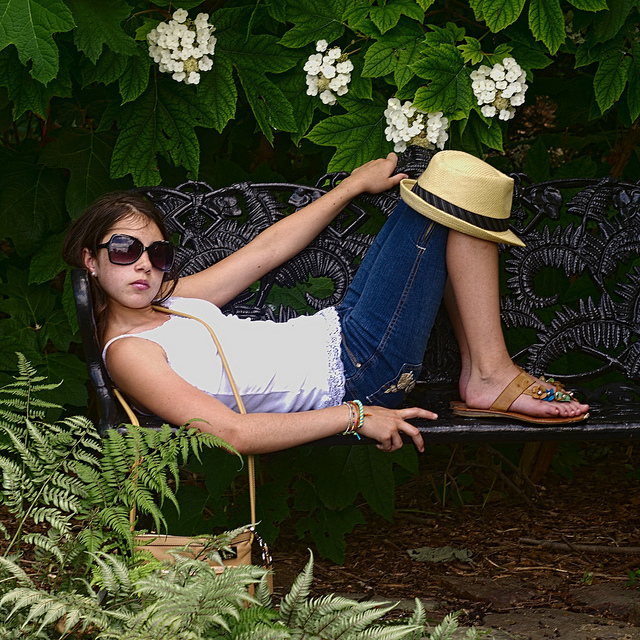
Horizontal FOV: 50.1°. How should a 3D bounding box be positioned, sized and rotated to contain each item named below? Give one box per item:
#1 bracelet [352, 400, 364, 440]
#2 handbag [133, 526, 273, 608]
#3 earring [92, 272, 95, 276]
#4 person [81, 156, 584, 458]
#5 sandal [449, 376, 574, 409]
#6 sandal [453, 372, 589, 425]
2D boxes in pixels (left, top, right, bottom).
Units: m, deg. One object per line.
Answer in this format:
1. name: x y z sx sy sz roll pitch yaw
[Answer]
1. bracelet: 0.121 0.288 2.049 0.039 0.081 0.083 1 -2 0
2. handbag: -0.253 0.578 1.631 0.379 0.084 0.224 3 11 -5
3. earring: -0.703 -0.142 2.128 0.011 0.007 0.007 7 35 3
4. person: 0.144 0.019 2.323 2.008 0.669 0.886 1 35 -18
5. sandal: 0.664 0.253 2.245 0.445 0.077 0.133 -6 13 1
6. sandal: 0.613 0.249 2.139 0.458 0.115 0.137 0 -3 13
